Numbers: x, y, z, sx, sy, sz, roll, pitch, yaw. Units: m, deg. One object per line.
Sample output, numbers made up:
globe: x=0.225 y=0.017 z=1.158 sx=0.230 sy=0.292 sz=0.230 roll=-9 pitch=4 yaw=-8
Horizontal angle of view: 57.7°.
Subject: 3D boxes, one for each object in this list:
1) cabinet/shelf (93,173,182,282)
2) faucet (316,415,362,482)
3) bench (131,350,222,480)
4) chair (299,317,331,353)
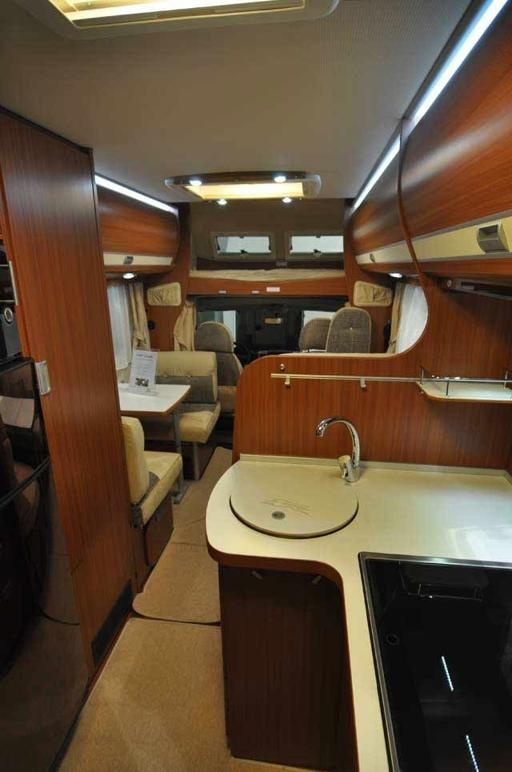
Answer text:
cabinet/shelf: x=-0.820 y=-1.096 z=3.395 sx=0.402 sy=0.565 sz=1.806 roll=-1 pitch=14 yaw=-5
faucet: x=0.314 y=0.234 z=1.715 sx=0.162 sy=0.282 sz=0.360 roll=3 pitch=13 yaw=11
bench: x=-0.563 y=0.191 z=4.179 sx=0.810 sy=1.346 sz=0.901 roll=2 pitch=10 yaw=11
chair: x=0.549 y=-0.482 z=4.391 sx=0.295 sy=0.354 sz=0.230 roll=10 pitch=6 yaw=4
